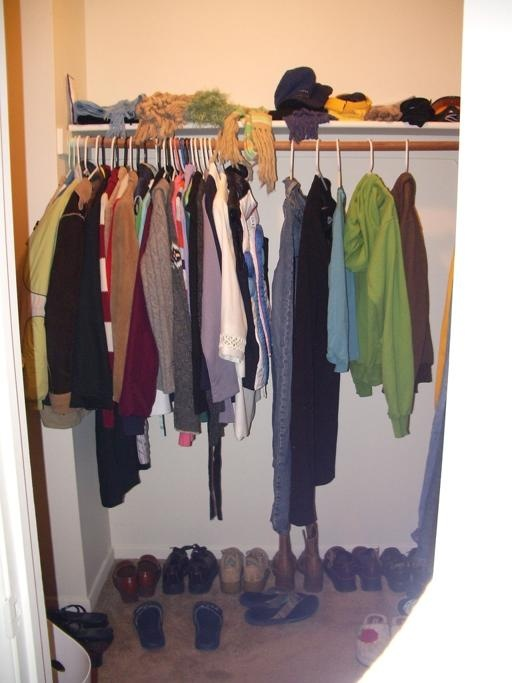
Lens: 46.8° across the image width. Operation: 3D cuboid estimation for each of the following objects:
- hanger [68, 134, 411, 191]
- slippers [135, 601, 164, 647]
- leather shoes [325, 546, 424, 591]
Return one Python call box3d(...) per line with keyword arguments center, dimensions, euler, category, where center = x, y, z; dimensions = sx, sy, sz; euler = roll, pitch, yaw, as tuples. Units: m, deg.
box3d(center=(-0.026, -0.549, 1.787), dimensions=(1.036, 0.189, 0.415), euler=(-3, 16, 3), category="hanger")
box3d(center=(-0.332, 0.874, 1.835), dimensions=(0.045, 0.049, 0.137), euler=(1, 9, -13), category="slippers")
box3d(center=(0.404, 0.791, 2.114), dimensions=(0.329, 0.112, 0.260), euler=(0, 16, 10), category="leather shoes")
